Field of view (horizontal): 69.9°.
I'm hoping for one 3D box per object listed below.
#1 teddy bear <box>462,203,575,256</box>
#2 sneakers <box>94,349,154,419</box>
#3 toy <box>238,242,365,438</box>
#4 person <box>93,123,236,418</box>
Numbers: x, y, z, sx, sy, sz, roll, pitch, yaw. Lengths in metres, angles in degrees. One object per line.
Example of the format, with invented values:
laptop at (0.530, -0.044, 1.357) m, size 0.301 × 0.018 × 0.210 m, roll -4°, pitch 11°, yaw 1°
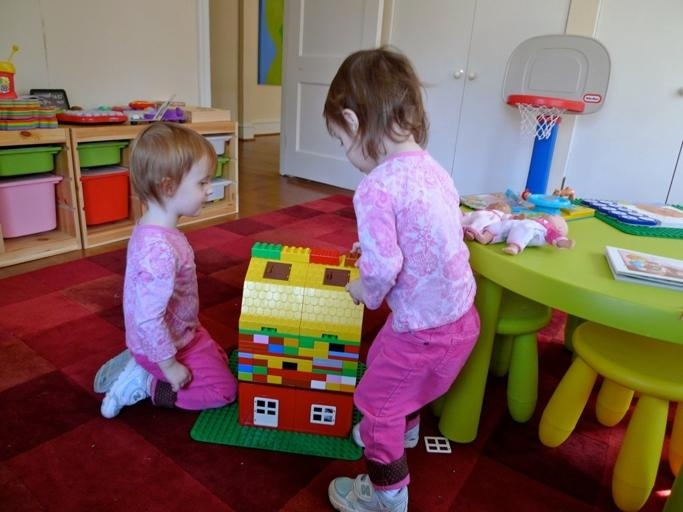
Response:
teddy bear at (0.509, -0.076, 1.386) m, size 0.183 × 0.059 × 0.193 m, roll -13°, pitch 20°, yaw -23°
sneakers at (-0.676, 0.372, 1.558) m, size 0.096 × 0.135 × 0.230 m, roll -6°, pitch 46°, yaw 56°
toy at (-0.128, 0.193, 1.585) m, size 0.441 × 0.682 × 0.473 m, roll 5°, pitch 23°, yaw 2°
person at (-0.560, 0.057, 1.451) m, size 0.423 × 0.828 × 0.328 m, roll -7°, pitch 25°, yaw -22°
